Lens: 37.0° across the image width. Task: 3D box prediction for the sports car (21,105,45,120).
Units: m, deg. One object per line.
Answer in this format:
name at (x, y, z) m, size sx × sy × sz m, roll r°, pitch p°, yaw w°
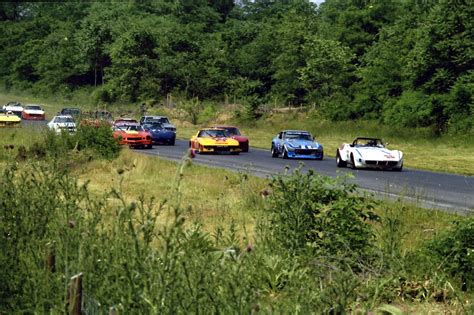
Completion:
sports car at (-22.960, -4.885, 79.793) m, size 2.314 × 1.540 × 2.636 m, roll -4°, pitch 14°, yaw -24°
